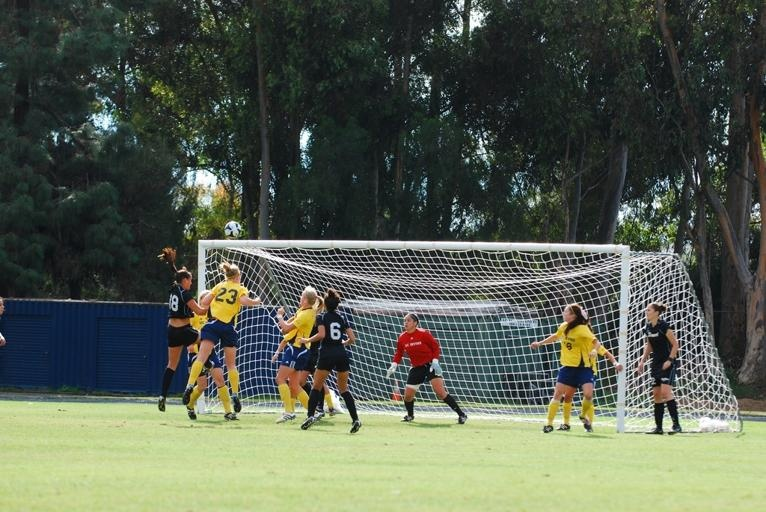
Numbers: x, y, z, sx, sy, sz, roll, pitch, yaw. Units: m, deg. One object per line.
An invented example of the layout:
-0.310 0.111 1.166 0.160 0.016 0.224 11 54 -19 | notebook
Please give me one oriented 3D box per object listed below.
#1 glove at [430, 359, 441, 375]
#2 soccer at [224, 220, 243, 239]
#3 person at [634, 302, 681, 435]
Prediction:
1.715 3.587 42.195 0.342 0.511 0.151 10 19 43 | glove
-5.297 -0.869 46.001 0.407 0.599 0.738 -1 -9 11 | soccer
8.805 3.554 41.664 1.392 4.147 1.098 1 1 26 | person
